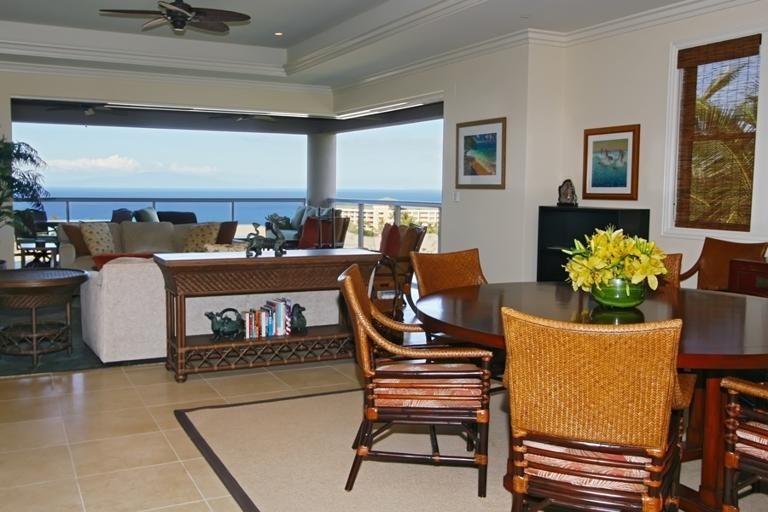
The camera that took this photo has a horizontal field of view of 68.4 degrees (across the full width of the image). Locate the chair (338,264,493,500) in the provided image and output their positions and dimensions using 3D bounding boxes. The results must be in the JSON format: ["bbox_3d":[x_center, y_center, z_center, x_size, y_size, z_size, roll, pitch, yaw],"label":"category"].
[{"bbox_3d":[0.226,0.825,3.456,0.904,1.044,0.765,1,-14,8],"label":"chair"}]

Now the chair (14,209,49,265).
[{"bbox_3d":[-5.879,-0.299,9.533,0.551,0.867,0.580,-10,47,-32],"label":"chair"}]

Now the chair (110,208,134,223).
[{"bbox_3d":[-5.038,-0.745,10.945,0.369,0.250,1.361,-5,13,-23],"label":"chair"}]

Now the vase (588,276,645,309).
[{"bbox_3d":[1.332,0.198,3.170,0.223,0.123,0.203,-1,2,3],"label":"vase"}]

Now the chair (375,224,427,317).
[{"bbox_3d":[0.046,0.233,7.166,0.932,1.073,0.765,0,4,-8],"label":"chair"}]

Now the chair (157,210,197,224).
[{"bbox_3d":[-4.266,-0.782,11.643,0.725,0.409,0.461,0,0,-14],"label":"chair"}]

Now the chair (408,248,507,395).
[{"bbox_3d":[0.592,0.388,4.631,0.627,0.817,0.625,-7,-7,9],"label":"chair"}]

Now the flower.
[{"bbox_3d":[1.281,0.010,3.281,0.514,0.268,0.472,0,4,-21],"label":"flower"}]

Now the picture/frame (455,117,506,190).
[{"bbox_3d":[1.159,-1.217,6.784,0.181,0.844,0.920,-6,15,-23],"label":"picture/frame"}]

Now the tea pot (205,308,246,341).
[{"bbox_3d":[-1.420,0.612,5.067,0.139,0.267,0.406,9,5,40],"label":"tea pot"}]

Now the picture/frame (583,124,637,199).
[{"bbox_3d":[2.384,-0.964,5.915,0.182,0.782,0.694,-6,15,-23],"label":"picture/frame"}]

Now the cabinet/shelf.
[{"bbox_3d":[-1.066,0.569,5.351,2.104,0.966,0.665,0,-9,-36],"label":"cabinet/shelf"}]
